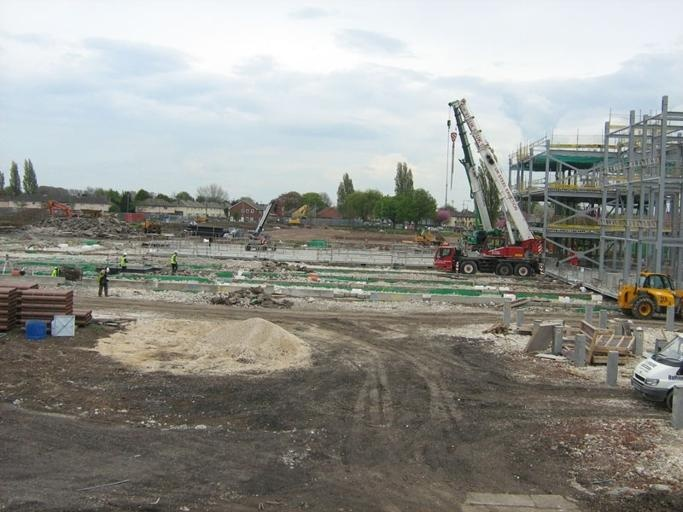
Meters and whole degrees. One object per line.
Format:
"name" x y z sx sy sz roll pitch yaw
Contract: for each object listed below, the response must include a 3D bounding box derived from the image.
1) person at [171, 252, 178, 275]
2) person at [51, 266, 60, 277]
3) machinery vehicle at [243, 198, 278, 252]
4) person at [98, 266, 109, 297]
"person" -9.771 0.422 37.775 0.339 1.236 1.276 -1 10 -17
"person" -15.270 0.849 34.552 0.415 0.447 0.957 -3 10 -24
"machinery vehicle" -7.960 -2.924 64.018 3.148 5.060 2.717 6 5 1
"person" -11.094 1.240 30.042 0.460 1.323 1.444 -2 10 -23
